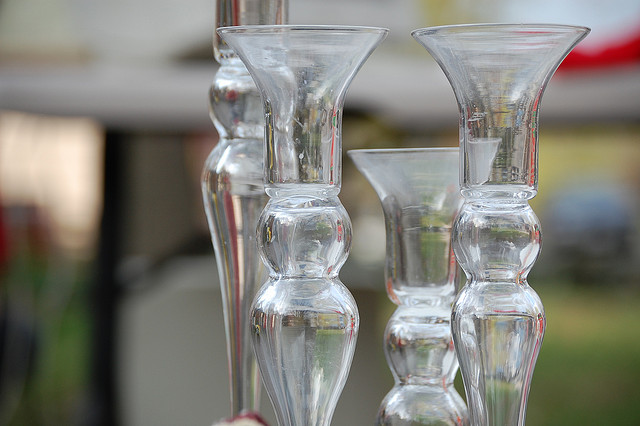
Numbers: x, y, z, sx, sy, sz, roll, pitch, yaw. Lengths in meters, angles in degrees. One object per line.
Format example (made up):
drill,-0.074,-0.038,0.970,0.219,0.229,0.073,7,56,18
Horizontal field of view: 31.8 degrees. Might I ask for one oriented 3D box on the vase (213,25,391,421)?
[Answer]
vase,-0.032,0.014,1.320,0.188,0.460,0.113,2,3,36
